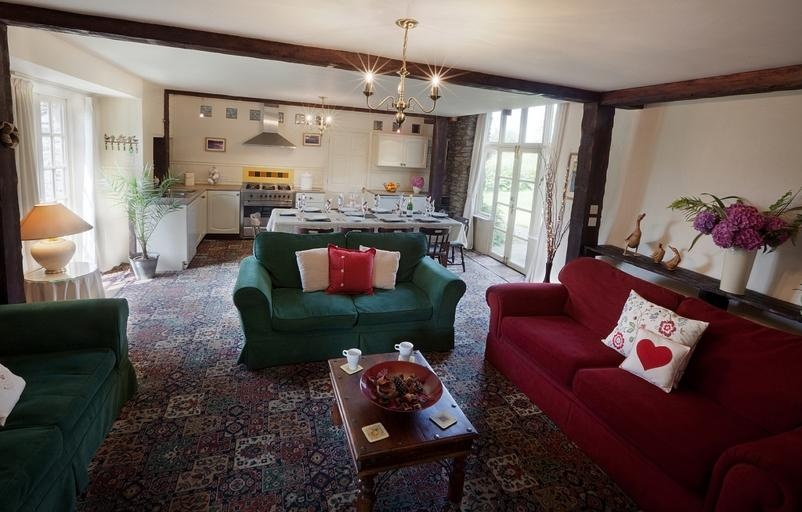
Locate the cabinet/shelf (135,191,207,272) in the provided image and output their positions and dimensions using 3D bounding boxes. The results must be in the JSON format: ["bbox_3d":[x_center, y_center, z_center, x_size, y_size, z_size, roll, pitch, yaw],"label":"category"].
[{"bbox_3d":[-3.336,-0.346,6.694,0.385,0.580,1.222,0,24,-13],"label":"cabinet/shelf"}]

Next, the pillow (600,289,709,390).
[{"bbox_3d":[2.110,0.715,3.863,0.220,0.668,0.716,36,0,-36],"label":"pillow"}]

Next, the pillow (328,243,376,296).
[{"bbox_3d":[-0.525,0.166,4.926,0.582,0.516,0.192,3,-2,-4],"label":"pillow"}]

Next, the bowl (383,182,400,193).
[{"bbox_3d":[-0.198,-1.394,9.530,0.274,0.133,0.274,1,9,0],"label":"bowl"}]

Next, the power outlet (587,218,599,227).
[{"bbox_3d":[2.417,-0.428,5.901,0.151,0.104,0.026,-6,19,-26],"label":"power outlet"}]

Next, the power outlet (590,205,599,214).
[{"bbox_3d":[2.416,-0.591,5.861,0.117,0.097,0.025,2,9,-17],"label":"power outlet"}]

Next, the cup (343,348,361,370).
[{"bbox_3d":[-0.398,0.839,3.903,0.198,0.143,0.152,4,7,24],"label":"cup"}]

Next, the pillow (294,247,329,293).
[{"bbox_3d":[-0.939,0.154,4.916,0.432,0.368,0.228,-11,-4,-45],"label":"pillow"}]

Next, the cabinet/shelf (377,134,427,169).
[{"bbox_3d":[-0.067,-2.187,9.758,1.217,0.676,0.384,-6,16,-30],"label":"cabinet/shelf"}]

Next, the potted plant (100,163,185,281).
[{"bbox_3d":[-3.517,-0.371,6.573,1.133,1.394,0.945,-1,9,8],"label":"potted plant"}]

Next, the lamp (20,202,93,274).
[{"bbox_3d":[-3.589,-0.170,4.791,0.735,0.664,0.748,4,9,38],"label":"lamp"}]

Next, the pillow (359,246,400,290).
[{"bbox_3d":[-0.248,0.134,5.039,0.413,0.365,0.211,19,-1,17],"label":"pillow"}]

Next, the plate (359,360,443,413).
[{"bbox_3d":[-0.052,1.006,3.594,0.445,0.138,0.438,-6,16,24],"label":"plate"}]

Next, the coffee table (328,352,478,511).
[{"bbox_3d":[-0.077,1.193,3.678,0.947,0.632,1.043,-6,18,-20],"label":"coffee table"}]

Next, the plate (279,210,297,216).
[{"bbox_3d":[-1.640,-0.618,6.769,0.213,0.028,0.280,-2,15,-14],"label":"plate"}]

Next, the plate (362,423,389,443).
[{"bbox_3d":[-0.185,1.252,3.323,0.163,0.056,0.135,-5,16,-24],"label":"plate"}]

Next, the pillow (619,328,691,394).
[{"bbox_3d":[2.054,0.850,3.771,0.147,0.438,0.471,29,3,-38],"label":"pillow"}]

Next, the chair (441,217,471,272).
[{"bbox_3d":[0.957,-0.128,7.909,0.476,0.593,0.501,2,5,-43],"label":"chair"}]

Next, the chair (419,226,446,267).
[{"bbox_3d":[0.542,-0.190,6.935,0.449,0.688,0.504,3,31,2],"label":"chair"}]

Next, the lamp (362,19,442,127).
[{"bbox_3d":[0.010,-1.756,4.578,0.707,0.935,0.718,9,7,42],"label":"lamp"}]

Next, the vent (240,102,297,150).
[{"bbox_3d":[-2.507,-2.521,9.026,1.046,0.789,0.539,1,23,-12],"label":"vent"}]
